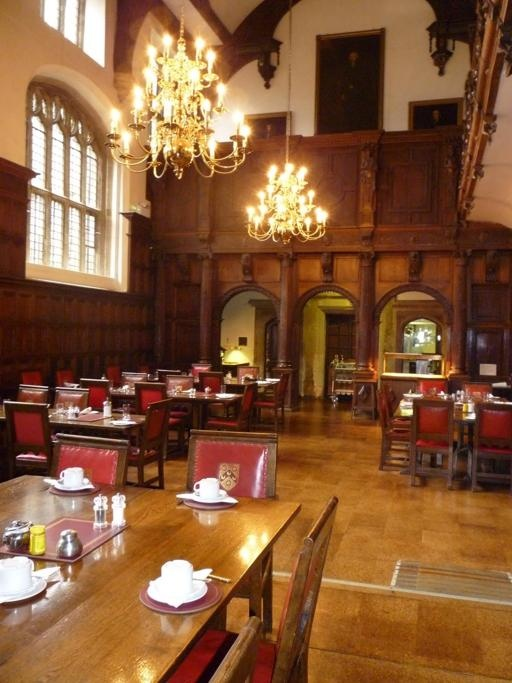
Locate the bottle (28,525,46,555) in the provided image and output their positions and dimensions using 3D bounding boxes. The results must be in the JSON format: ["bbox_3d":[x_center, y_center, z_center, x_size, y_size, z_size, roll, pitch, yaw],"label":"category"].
[{"bbox_3d":[-0.719,0.649,1.815,0.053,0.108,0.081,4,-1,-21],"label":"bottle"}]

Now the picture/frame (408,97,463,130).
[{"bbox_3d":[3.908,-4.839,11.699,1.263,0.817,0.099,2,3,16],"label":"picture/frame"}]

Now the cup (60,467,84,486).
[{"bbox_3d":[-0.911,0.648,2.690,0.111,0.090,0.088,-1,-1,5],"label":"cup"}]

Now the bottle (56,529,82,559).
[{"bbox_3d":[-0.605,0.661,1.797,0.072,0.076,0.075,-2,-10,5],"label":"bottle"}]

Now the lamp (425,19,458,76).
[{"bbox_3d":[3.946,-6.202,11.650,0.605,1.067,0.322,4,0,18],"label":"lamp"}]

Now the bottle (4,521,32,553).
[{"bbox_3d":[-0.788,0.652,1.874,0.083,0.110,0.106,-3,-16,1],"label":"bottle"}]

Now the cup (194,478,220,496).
[{"bbox_3d":[-0.224,0.666,2.561,0.119,0.079,0.081,-1,1,-8],"label":"cup"}]
